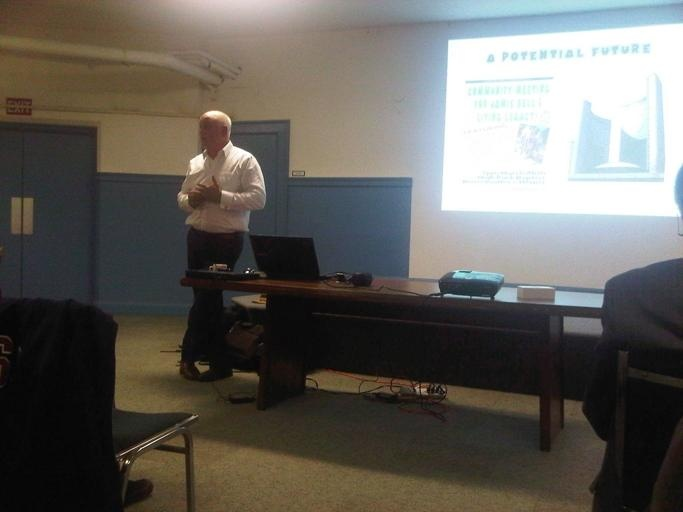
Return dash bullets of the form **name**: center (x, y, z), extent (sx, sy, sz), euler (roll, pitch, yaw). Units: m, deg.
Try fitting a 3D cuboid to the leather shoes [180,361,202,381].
- **leather shoes**: center (-1.009, 0.755, 3.827), extent (0.097, 0.047, 0.143), euler (19, -12, 9)
